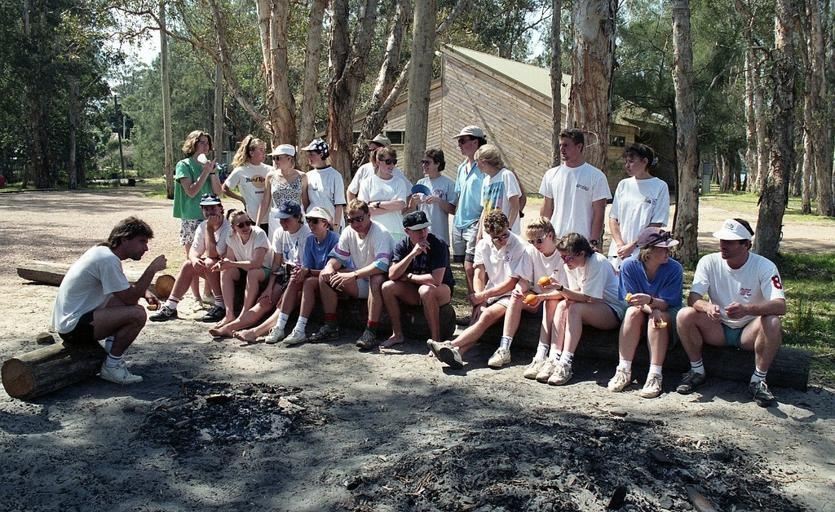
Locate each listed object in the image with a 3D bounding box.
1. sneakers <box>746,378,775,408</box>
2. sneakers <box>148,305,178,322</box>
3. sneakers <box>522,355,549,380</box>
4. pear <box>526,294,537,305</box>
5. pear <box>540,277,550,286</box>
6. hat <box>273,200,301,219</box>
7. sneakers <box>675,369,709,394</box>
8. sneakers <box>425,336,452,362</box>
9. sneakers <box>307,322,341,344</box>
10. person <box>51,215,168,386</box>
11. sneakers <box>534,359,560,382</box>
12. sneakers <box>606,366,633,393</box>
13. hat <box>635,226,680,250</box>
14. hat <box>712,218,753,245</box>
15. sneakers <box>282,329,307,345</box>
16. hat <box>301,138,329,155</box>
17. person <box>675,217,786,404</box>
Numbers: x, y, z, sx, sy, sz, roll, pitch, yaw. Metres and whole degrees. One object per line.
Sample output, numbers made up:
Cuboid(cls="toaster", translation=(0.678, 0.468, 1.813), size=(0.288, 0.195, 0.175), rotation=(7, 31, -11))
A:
Cuboid(cls="sneakers", translation=(4.595, 1.805, 9.482), size=(0.327, 0.323, 0.219), rotation=(4, 5, 22))
Cuboid(cls="sneakers", translation=(-4.169, 0.957, 11.794), size=(0.186, 0.256, 0.513), rotation=(0, -2, 43))
Cuboid(cls="sneakers", translation=(1.685, 1.589, 10.179), size=(0.155, 0.209, 0.480), rotation=(5, 9, 35))
Cuboid(cls="pear", translation=(1.655, 0.640, 10.365), size=(0.140, 0.144, 0.137), rotation=(-29, 13, -36))
Cuboid(cls="pear", translation=(1.830, 0.354, 10.163), size=(0.114, 0.119, 0.116), rotation=(-36, 64, -23))
Cuboid(cls="hat", translation=(-2.045, -0.716, 11.372), size=(0.238, 0.214, 0.357), rotation=(-1, -6, 17))
Cuboid(cls="sneakers", translation=(3.742, 1.691, 9.810), size=(0.543, 0.240, 0.197), rotation=(-25, 10, -29))
Cuboid(cls="sneakers", translation=(0.311, 1.382, 10.473), size=(0.224, 0.515, 0.168), rotation=(-35, 46, -28))
Cuboid(cls="sneakers", translation=(-1.443, 1.193, 11.201), size=(0.535, 0.277, 0.203), rotation=(-5, 11, -24))
Cuboid(cls="person", translation=(-4.317, 0.597, 9.962), size=(1.284, 2.302, 0.422), rotation=(1, 5, -6))
Cuboid(cls="sneakers", translation=(1.835, 1.603, 10.065), size=(0.147, 0.202, 0.480), rotation=(14, 33, 29))
Cuboid(cls="sneakers", translation=(2.785, 1.688, 9.908), size=(0.396, 0.253, 0.201), rotation=(-23, 19, -36))
Cuboid(cls="hat", translation=(3.350, -0.235, 9.942), size=(0.413, 0.209, 0.341), rotation=(-2, 6, 5))
Cuboid(cls="hat", translation=(4.271, -0.328, 9.602), size=(0.404, 0.239, 0.328), rotation=(4, 1, -19))
Cuboid(cls="sneakers", translation=(-1.898, 1.267, 11.148), size=(0.407, 0.194, 0.144), rotation=(-3, 5, -45))
Cuboid(cls="hat", translation=(-1.744, -1.860, 12.228), size=(0.413, 0.248, 0.309), rotation=(11, 7, -18))
Cuboid(cls="person", translation=(4.236, 0.724, 9.601), size=(1.267, 2.402, 0.600), rotation=(4, 5, 26))
